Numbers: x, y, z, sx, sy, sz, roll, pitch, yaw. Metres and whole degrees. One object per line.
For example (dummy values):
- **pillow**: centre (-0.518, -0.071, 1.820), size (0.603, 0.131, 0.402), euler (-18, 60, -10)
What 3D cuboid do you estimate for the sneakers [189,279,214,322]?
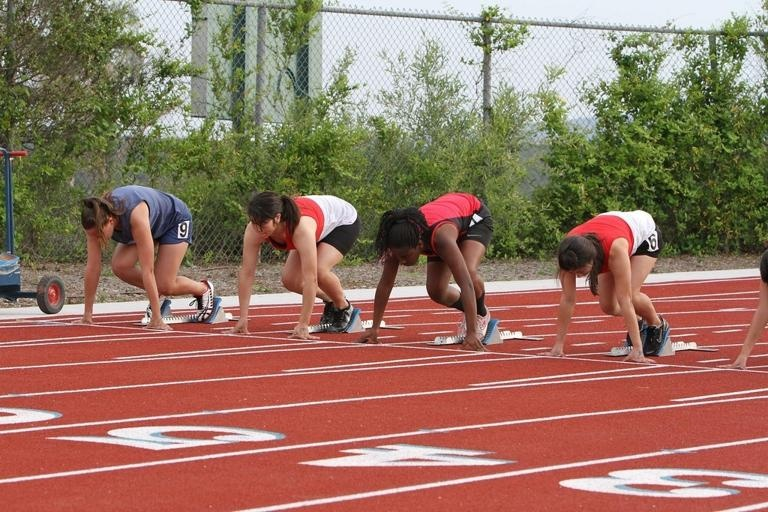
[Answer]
- **sneakers**: centre (-1.884, 0.476, 8.701), size (0.163, 0.447, 0.199), euler (2, -6, 39)

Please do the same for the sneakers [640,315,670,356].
- **sneakers**: centre (2.374, 0.728, 7.209), size (0.180, 0.416, 0.151), euler (33, -21, -36)

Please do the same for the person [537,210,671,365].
- **person**: centre (2.007, 0.290, 7.138), size (0.858, 1.264, 1.329), euler (1, 3, 42)

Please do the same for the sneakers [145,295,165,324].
- **sneakers**: centre (-2.350, 0.565, 8.466), size (0.207, 0.263, 0.614), euler (0, -1, -6)

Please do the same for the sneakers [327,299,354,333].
- **sneakers**: centre (-0.434, 0.622, 8.281), size (0.144, 0.385, 0.167), euler (5, -10, 24)

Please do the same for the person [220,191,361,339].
- **person**: centre (-0.784, 0.078, 8.108), size (0.907, 1.416, 1.487), euler (5, 8, 34)

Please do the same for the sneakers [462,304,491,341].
- **sneakers**: centre (0.887, 0.647, 7.701), size (0.134, 0.394, 0.173), euler (0, -30, 42)

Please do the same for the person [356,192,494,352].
- **person**: centre (0.527, 0.173, 7.362), size (1.363, 1.305, 1.081), euler (-1, 3, -42)

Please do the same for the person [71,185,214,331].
- **person**: centre (-2.374, 0.008, 8.177), size (0.933, 1.376, 1.250), euler (3, 4, 18)
